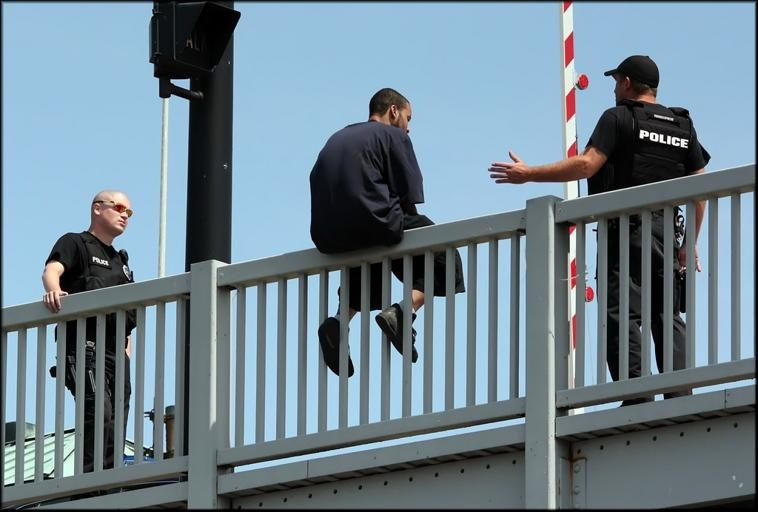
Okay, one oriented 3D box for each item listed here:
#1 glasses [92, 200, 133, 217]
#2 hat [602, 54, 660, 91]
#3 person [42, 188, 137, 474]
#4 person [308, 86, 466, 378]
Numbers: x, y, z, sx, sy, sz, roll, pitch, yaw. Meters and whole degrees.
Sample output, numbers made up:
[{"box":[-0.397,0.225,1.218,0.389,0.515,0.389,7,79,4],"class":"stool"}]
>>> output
[{"box":[-1.891,-0.336,17.336,0.205,0.058,0.205,5,-16,45],"class":"glasses"},{"box":[1.755,-1.303,16.999,0.397,0.195,0.268,13,2,16],"class":"hat"},{"box":[-2.021,0.500,17.417,0.638,2.107,0.645,-4,-14,-6],"class":"person"},{"box":[0.004,-0.211,16.705,0.949,2.027,0.620,-5,-14,0],"class":"person"}]
